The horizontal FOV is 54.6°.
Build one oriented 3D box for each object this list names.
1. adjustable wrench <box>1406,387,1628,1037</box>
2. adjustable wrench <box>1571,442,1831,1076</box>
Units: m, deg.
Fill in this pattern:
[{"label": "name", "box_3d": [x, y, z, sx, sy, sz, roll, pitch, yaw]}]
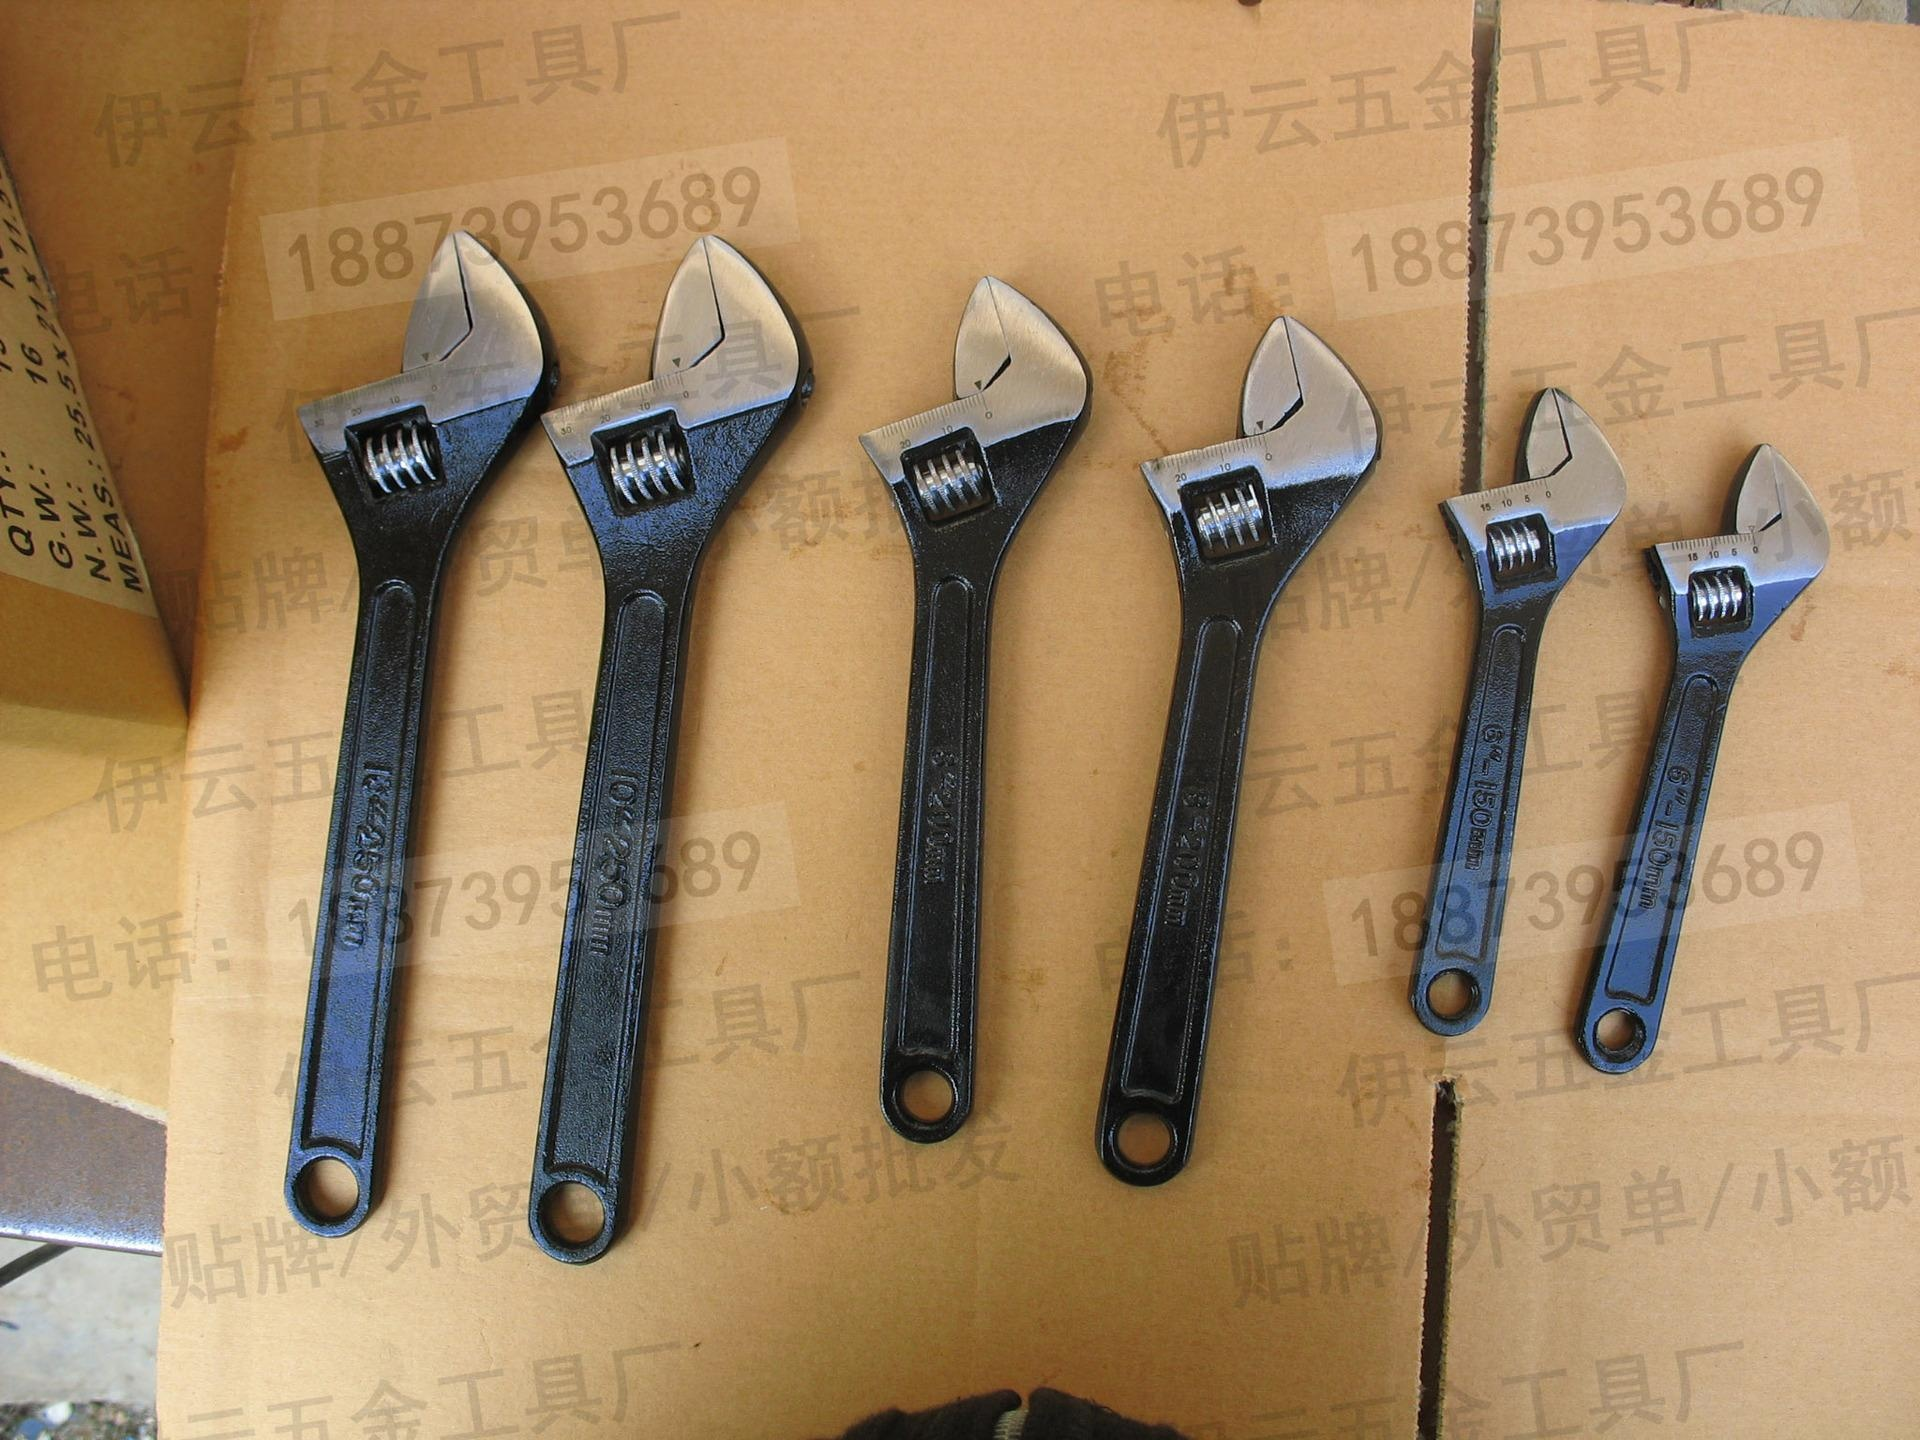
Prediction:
[{"label": "adjustable wrench", "box_3d": [0.721, -0.017, 2.423, 0.289, 0.835, 0.061, -1, 2, -15]}, {"label": "adjustable wrench", "box_3d": [0.971, 0.035, 2.503, 0.244, 0.875, 0.091, 14, 1, 4]}]
